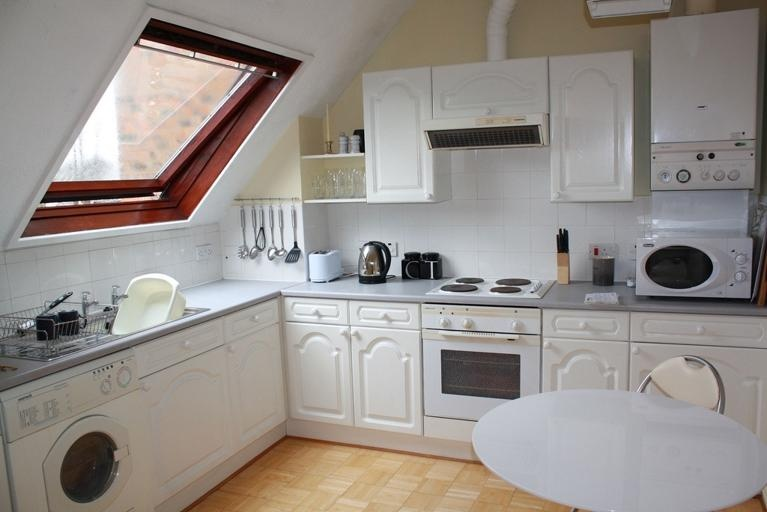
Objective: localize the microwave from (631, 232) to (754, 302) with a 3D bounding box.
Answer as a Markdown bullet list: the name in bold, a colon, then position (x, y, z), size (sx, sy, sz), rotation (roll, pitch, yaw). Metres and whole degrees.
- **microwave**: position (1.978, 0.081, 3.349), size (0.668, 0.420, 0.425), rotation (0, 0, 20)

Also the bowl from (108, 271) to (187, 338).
- **bowl**: position (-1.628, 0.310, 3.638), size (0.341, 0.495, 0.217), rotation (-1, -22, 11)

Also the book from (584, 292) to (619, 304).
- **book**: position (1.473, 0.280, 3.564), size (0.213, 0.034, 0.284), rotation (2, 6, 23)

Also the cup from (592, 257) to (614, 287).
- **cup**: position (1.616, 0.119, 3.864), size (0.198, 0.207, 0.184), rotation (0, 1, 0)

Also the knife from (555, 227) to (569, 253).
- **knife**: position (1.360, -0.123, 4.003), size (0.091, 0.183, 0.156), rotation (1, 7, 17)

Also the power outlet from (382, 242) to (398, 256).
- **power outlet**: position (0.077, -0.061, 4.480), size (0.123, 0.112, 0.029), rotation (3, 4, 13)

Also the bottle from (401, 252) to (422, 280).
- **bottle**: position (0.275, 0.075, 4.295), size (0.180, 0.241, 0.195), rotation (0, -2, 0)

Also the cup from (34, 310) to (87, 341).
- **cup**: position (-1.912, 0.398, 3.090), size (0.155, 0.092, 0.237), rotation (-1, 9, -11)

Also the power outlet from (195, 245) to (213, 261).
- **power outlet**: position (-1.528, -0.043, 4.480), size (0.021, 0.125, 0.187), rotation (3, 7, 27)

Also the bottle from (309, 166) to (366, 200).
- **bottle**: position (-0.375, -0.596, 4.341), size (0.457, 0.245, 0.104), rotation (2, 7, 25)

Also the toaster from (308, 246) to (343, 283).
- **toaster**: position (-0.486, 0.061, 4.474), size (0.198, 0.259, 0.374), rotation (5, 13, 21)

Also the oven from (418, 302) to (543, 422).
- **oven**: position (0.650, 0.866, 3.961), size (0.921, 0.927, 0.687), rotation (2, -16, 3)

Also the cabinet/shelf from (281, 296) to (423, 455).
- **cabinet/shelf**: position (-0.208, 0.872, 3.999), size (1.225, 1.116, 0.634), rotation (0, 3, 19)

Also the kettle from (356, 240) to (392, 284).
- **kettle**: position (-0.084, 0.047, 4.179), size (0.344, 0.338, 0.222), rotation (-1, 5, 1)

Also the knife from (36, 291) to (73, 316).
- **knife**: position (-2.094, 0.298, 3.327), size (0.051, 0.026, 0.231), rotation (5, 30, 35)
